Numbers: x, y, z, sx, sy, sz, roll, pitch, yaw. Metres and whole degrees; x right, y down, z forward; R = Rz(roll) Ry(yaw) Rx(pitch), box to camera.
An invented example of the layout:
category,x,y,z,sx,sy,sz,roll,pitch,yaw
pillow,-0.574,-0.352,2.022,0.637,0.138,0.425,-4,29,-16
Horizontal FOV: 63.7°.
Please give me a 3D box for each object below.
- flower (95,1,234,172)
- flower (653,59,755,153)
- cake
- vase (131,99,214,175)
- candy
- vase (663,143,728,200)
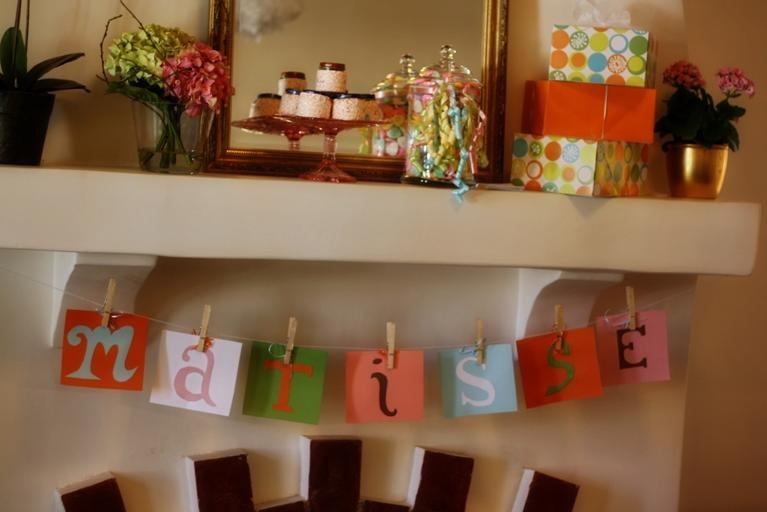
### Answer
category,x,y,z,sx,sy,sz,roll,pitch,yaw
flower,-0.517,-0.381,1.496,0.290,0.355,0.072,1,3,-2
flower,0.877,-0.430,1.647,0.206,0.138,0.197,-9,23,-39
cake,-0.167,-0.420,1.565,0.341,0.165,0.117,0,3,-8
vase,-0.517,-0.279,1.508,0.173,0.135,0.168,3,1,19
candy,0.107,-0.285,1.601,0.265,0.386,0.240,3,-4,-7
vase,0.838,-0.227,1.654,0.147,0.122,0.150,0,-2,11
